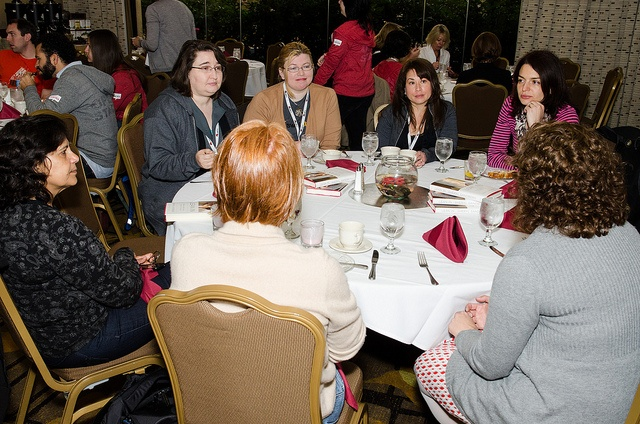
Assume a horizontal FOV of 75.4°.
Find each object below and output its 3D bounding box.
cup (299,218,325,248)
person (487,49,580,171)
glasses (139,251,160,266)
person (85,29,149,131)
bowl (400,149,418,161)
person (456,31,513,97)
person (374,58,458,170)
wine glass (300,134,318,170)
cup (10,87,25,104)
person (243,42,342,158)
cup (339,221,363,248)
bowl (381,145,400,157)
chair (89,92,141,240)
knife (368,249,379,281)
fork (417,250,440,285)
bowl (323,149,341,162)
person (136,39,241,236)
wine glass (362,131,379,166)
[{"bbox_3d":[-0.037,0.087,1.679,0.085,0.104,0.093,7,17,6],"label":"cup"},{"bbox_3d":[1.472,-0.696,2.917,0.539,0.790,0.533,7,31,32],"label":"person"},{"bbox_3d":[-0.839,0.239,2.013,0.080,0.031,0.089,4,38,12],"label":"glasses"},{"bbox_3d":[-2.109,-1.220,4.131,0.519,1.074,0.460,-7,34,-35],"label":"person"},{"bbox_3d":[0.551,-0.356,2.608,0.072,0.078,0.099,3,5,18],"label":"bowl"},{"bbox_3d":[1.852,-1.392,4.726,0.508,1.222,0.348,1,12,15],"label":"person"},{"bbox_3d":[0.698,-0.688,3.063,0.633,0.930,0.607,-4,11,-14],"label":"person"},{"bbox_3d":[-0.070,-0.381,2.536,0.113,0.192,0.118,6,17,8],"label":"wine glass"},{"bbox_3d":[-2.755,-1.065,3.751,0.116,0.148,0.123,9,20,-3],"label":"cup"},{"bbox_3d":[-0.212,-0.837,3.176,0.735,0.863,0.438,-4,20,-12],"label":"person"},{"bbox_3d":[0.129,0.090,1.714,0.079,0.083,0.109,2,29,2],"label":"cup"},{"bbox_3d":[0.447,-0.383,2.595,0.094,0.070,0.092,1,4,0],"label":"bowl"},{"bbox_3d":[-1.665,-0.280,3.277,0.434,0.797,0.441,12,20,15],"label":"chair"},{"bbox_3d":[0.201,0.201,1.610,0.024,0.016,0.153,4,33,11],"label":"knife"},{"bbox_3d":[0.426,0.207,1.621,0.026,0.025,0.175,0,43,-8],"label":"fork"},{"bbox_3d":[0.069,-0.377,2.658,0.084,0.056,0.083,5,20,-2],"label":"bowl"},{"bbox_3d":[-0.897,-0.289,2.898,0.683,1.617,0.673,9,18,8],"label":"person"},{"bbox_3d":[0.318,-0.416,2.657,0.123,0.213,0.124,-6,23,-7],"label":"wine glass"}]
